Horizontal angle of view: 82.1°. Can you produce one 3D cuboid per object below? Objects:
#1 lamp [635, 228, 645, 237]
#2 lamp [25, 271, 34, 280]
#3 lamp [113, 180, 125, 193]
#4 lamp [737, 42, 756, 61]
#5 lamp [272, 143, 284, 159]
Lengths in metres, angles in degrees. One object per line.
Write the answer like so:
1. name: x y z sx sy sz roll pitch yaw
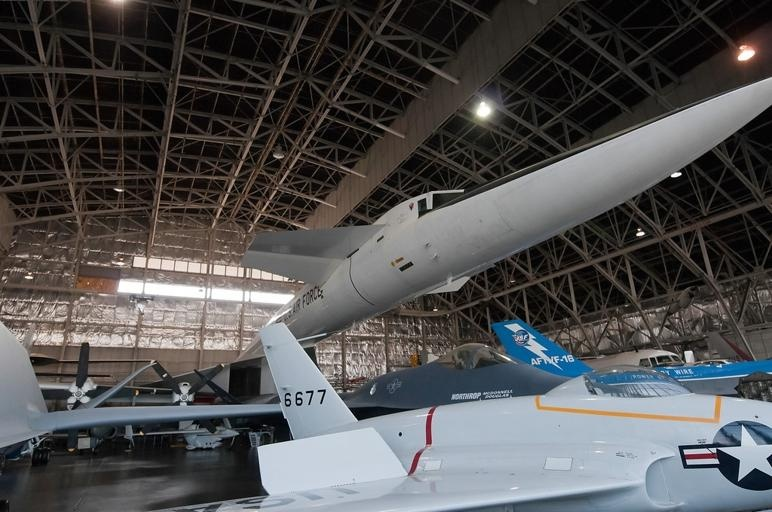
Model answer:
1. lamp: 14.521 -1.311 25.358 0.452 0.101 0.447 11 -30 -42
2. lamp: -22.354 1.299 27.803 0.460 0.485 0.213 -12 11 -30
3. lamp: -16.125 -4.233 26.800 0.571 0.532 0.521 -17 -23 26
4. lamp: 12.460 -7.036 15.339 0.482 0.588 0.414 1 12 36
5. lamp: -5.585 -5.415 23.096 0.763 0.794 0.712 -1 -44 -9
